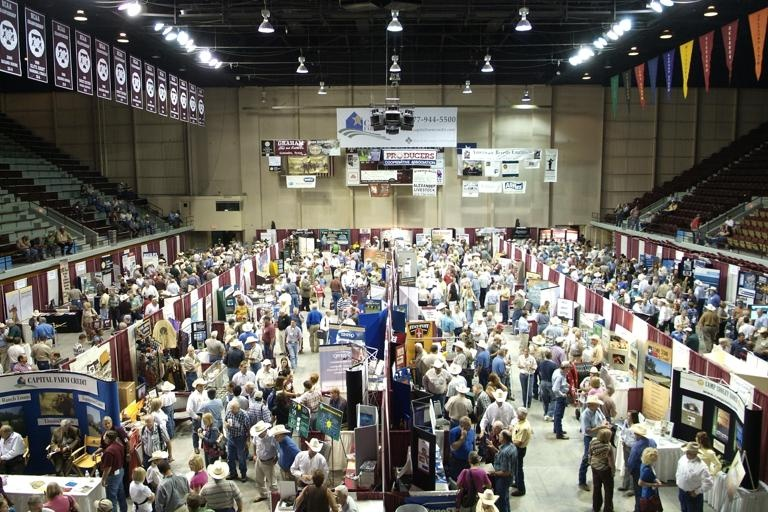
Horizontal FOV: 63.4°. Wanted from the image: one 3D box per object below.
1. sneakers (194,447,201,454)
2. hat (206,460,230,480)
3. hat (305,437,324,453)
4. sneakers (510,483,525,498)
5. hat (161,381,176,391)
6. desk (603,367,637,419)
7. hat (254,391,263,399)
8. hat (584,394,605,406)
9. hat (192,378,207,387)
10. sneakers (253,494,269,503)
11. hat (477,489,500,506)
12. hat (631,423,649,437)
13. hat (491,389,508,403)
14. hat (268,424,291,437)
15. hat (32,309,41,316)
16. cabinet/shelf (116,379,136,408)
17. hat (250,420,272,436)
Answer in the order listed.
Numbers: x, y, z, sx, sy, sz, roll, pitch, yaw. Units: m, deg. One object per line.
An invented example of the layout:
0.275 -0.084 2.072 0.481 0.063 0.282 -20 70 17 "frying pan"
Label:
-4.440 4.620 14.739 0.141 0.211 0.120 -1 11 -25 "sneakers"
-3.171 4.058 11.926 0.332 0.121 0.392 -5 46 -9 "hat"
-1.381 3.747 12.289 0.270 0.346 0.326 -1 4 -23 "hat"
2.917 5.156 13.647 0.366 0.268 0.127 5 4 34 "sneakers"
-5.172 3.108 14.855 0.274 0.277 0.612 -1 4 -24 "hat"
5.822 3.422 15.294 0.923 0.491 0.965 -2 17 11 "desk"
-2.820 3.108 13.903 0.188 0.211 0.162 -1 4 -22 "hat"
4.647 3.190 13.686 0.434 0.200 0.257 -1 4 -20 "hat"
-4.397 2.968 14.582 0.353 0.162 0.522 2 -5 -42 "hat"
-2.682 5.277 13.503 0.276 0.129 0.132 4 -1 -6 "sneakers"
1.896 4.442 11.514 0.330 0.168 0.399 3 12 7 "hat"
5.302 3.611 12.887 0.309 0.279 0.498 2 4 23 "hat"
2.600 3.138 13.928 0.261 0.339 0.499 1 4 15 "hat"
-2.211 3.683 13.075 0.442 0.307 0.490 0 4 -10 "hat"
-11.474 1.874 20.451 0.370 0.174 0.424 2 4 -23 "hat"
-6.161 3.271 14.843 0.445 0.701 0.656 -1 3 -2 "cabinet/shelf"
-2.613 3.648 13.292 0.309 0.125 0.343 -18 9 31 "hat"
